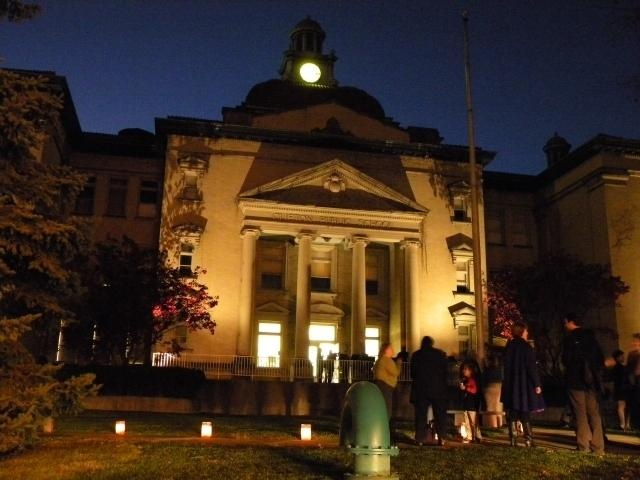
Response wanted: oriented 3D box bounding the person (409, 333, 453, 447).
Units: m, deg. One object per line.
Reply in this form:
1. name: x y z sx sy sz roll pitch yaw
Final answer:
1. person: 2.472 3.368 15.079 0.814 2.434 0.571 0 -16 8

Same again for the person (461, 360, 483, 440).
1. person: 3.643 3.913 16.093 0.420 1.900 0.940 -2 -17 12

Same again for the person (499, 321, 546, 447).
1. person: 4.249 3.056 14.051 0.806 2.528 0.973 -3 -17 16

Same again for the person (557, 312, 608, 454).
1. person: 5.579 2.927 13.865 0.770 2.773 0.925 -17 -11 3
